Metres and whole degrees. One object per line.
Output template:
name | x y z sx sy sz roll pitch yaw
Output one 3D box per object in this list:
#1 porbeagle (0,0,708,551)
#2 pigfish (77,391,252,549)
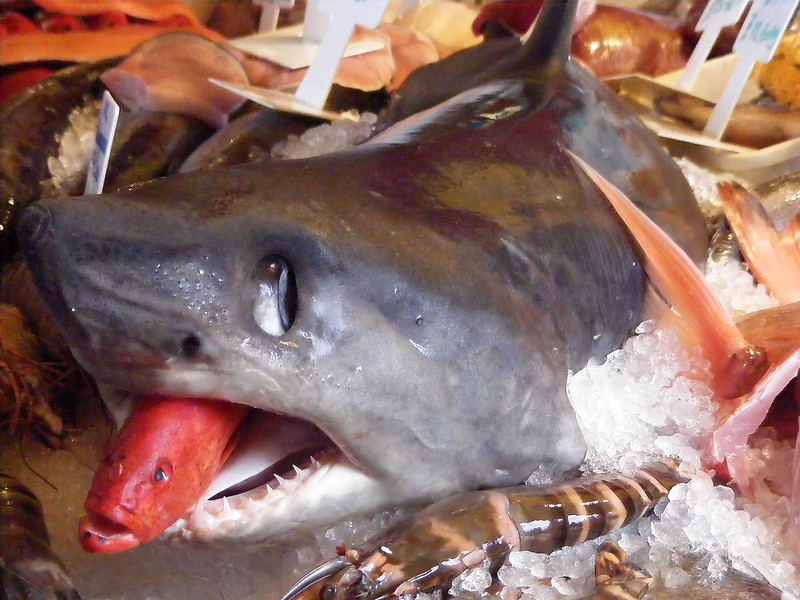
porbeagle | 0.051 -0.103 1.433 0.653 0.532 0.991 23 44 33
pigfish | -0.325 0.201 1.291 0.105 0.113 0.326 14 38 29
